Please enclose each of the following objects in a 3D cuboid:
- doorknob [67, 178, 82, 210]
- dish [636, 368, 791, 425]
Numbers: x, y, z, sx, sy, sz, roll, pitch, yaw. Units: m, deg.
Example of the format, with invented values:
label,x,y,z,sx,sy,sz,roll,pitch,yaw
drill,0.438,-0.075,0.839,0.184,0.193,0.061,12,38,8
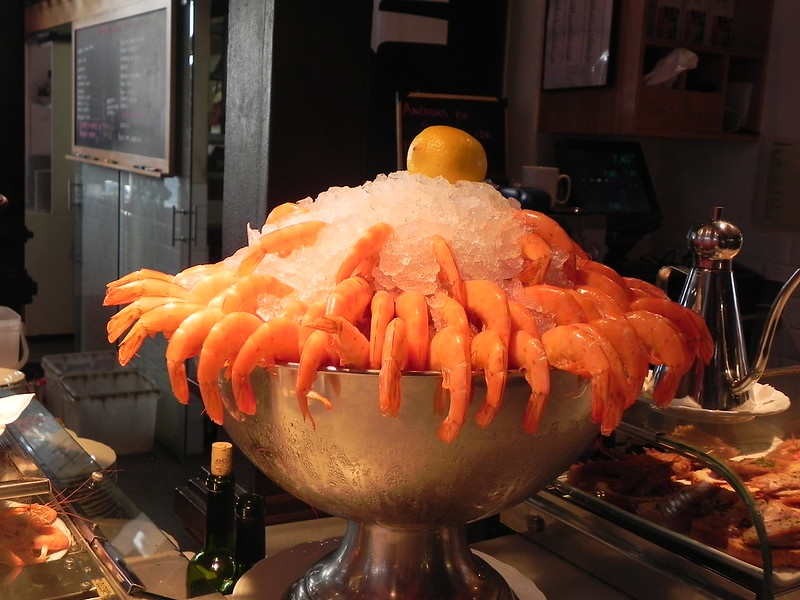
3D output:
label,x,y,z,sx,sy,sz,roll,pitch,yaw
doorknob,-2.406,-0.778,4.518,0.069,0.284,0.290,0,5,-36
dish,0.402,0.128,0.791,0.158,0.020,0.099,-6,10,-25
